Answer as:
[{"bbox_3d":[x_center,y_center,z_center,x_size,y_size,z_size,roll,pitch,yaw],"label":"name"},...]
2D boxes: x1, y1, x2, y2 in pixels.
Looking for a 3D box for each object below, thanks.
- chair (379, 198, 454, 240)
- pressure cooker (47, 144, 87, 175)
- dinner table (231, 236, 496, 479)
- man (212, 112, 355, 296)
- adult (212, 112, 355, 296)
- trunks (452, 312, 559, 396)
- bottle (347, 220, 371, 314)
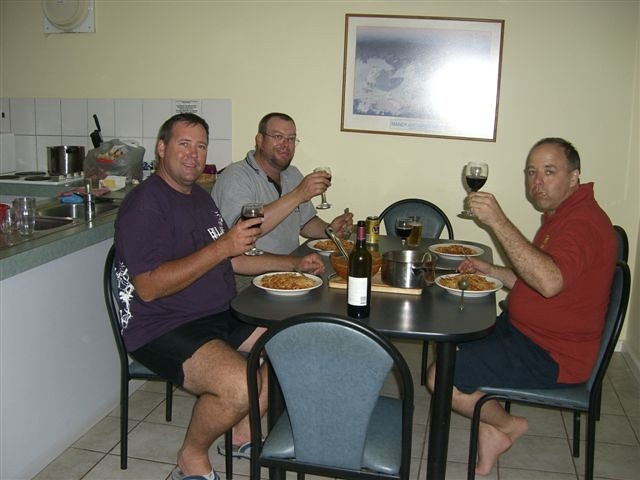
[{"bbox_3d":[0.672,-0.129,3.451,0.385,0.461,0.343,2,0,9],"label":"chair"},{"bbox_3d":[-2.005,-0.644,3.879,0.257,0.213,0.255,-2,17,-24],"label":"pressure cooker"},{"bbox_3d":[0.288,0.453,2.225,0.692,0.561,1.036,4,15,15],"label":"dinner table"},{"bbox_3d":[-0.193,-0.328,3.144,0.855,1.203,0.947,6,16,28],"label":"man"},{"bbox_3d":[-0.238,-0.320,3.057,0.855,1.203,0.947,6,16,28],"label":"adult"},{"bbox_3d":[0.799,0.533,2.133,0.370,0.367,0.112,1,-26,3],"label":"trunks"},{"bbox_3d":[0.154,0.101,1.890,0.091,0.371,0.173,0,13,4],"label":"bottle"}]
